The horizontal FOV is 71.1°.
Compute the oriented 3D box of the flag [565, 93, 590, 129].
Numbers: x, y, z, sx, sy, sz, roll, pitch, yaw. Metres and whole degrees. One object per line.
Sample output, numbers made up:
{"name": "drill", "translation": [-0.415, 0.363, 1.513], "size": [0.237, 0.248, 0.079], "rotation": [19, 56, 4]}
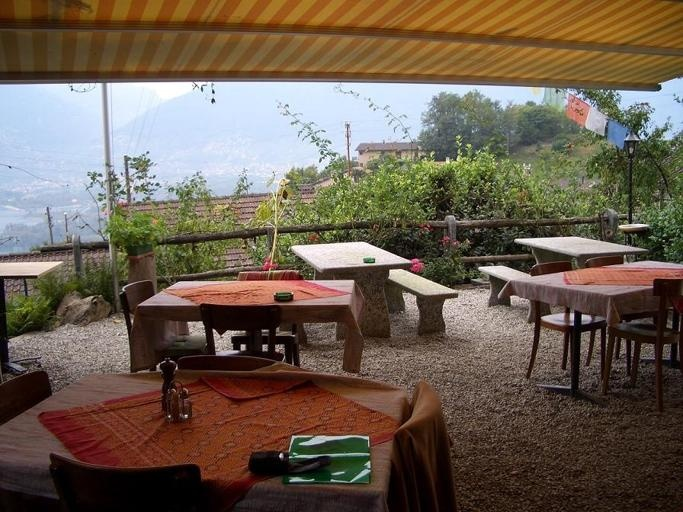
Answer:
{"name": "flag", "translation": [4.653, -2.863, 9.365], "size": [0.334, 0.681, 0.837], "rotation": [1, 9, 18]}

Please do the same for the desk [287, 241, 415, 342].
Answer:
{"name": "desk", "translation": [0.168, 0.099, 6.046], "size": [1.128, 0.927, 1.987], "rotation": [-2, 9, -15]}

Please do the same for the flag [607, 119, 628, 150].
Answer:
{"name": "flag", "translation": [4.990, -2.214, 8.628], "size": [0.329, 0.504, 0.369], "rotation": [-1, 9, 12]}
